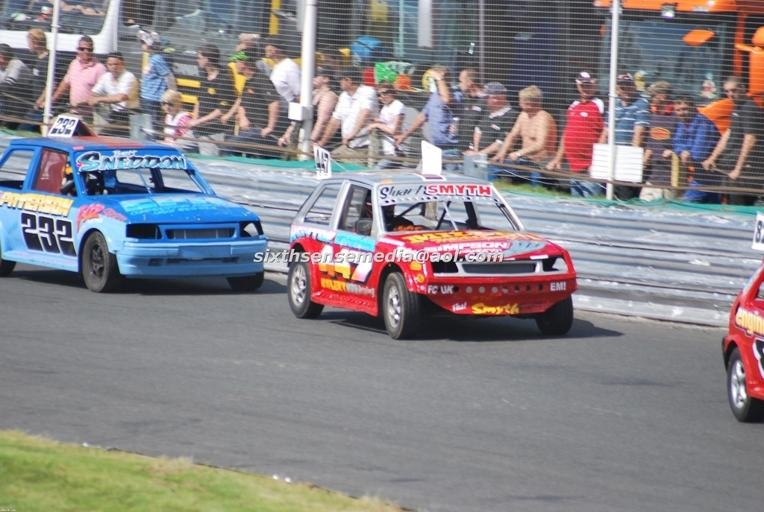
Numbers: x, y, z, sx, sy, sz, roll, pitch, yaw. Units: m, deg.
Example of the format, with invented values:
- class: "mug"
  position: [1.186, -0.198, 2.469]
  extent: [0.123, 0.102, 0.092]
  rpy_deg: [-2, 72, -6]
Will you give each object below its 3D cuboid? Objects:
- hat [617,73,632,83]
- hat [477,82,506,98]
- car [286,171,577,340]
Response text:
- class: "hat"
  position: [3.004, -2.222, 15.243]
  extent: [0.229, 0.101, 0.057]
  rpy_deg: [-4, 13, -30]
- class: "hat"
  position: [1.425, -2.159, 15.817]
  extent: [0.277, 0.124, 0.159]
  rpy_deg: [7, 8, 28]
- class: "car"
  position: [0.425, -0.034, 13.882]
  extent: [1.658, 1.682, 3.130]
  rpy_deg: [-9, 15, -44]
